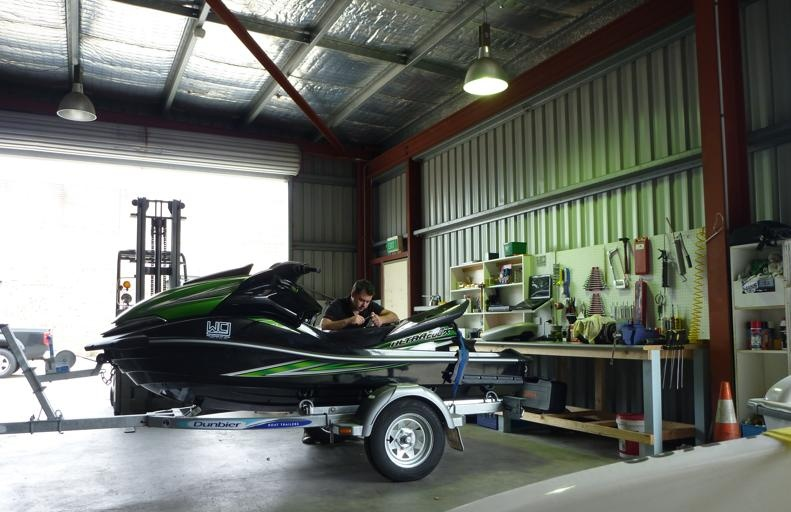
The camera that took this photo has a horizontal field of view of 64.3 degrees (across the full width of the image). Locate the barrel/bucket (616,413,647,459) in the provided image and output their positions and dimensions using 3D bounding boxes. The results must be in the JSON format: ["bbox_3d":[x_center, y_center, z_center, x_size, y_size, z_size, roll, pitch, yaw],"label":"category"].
[{"bbox_3d":[2.945,2.191,7.624,0.545,0.426,0.483,-5,-8,19],"label":"barrel/bucket"}]

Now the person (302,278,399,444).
[{"bbox_3d":[-0.602,1.378,7.855,1.323,2.125,0.908,-1,1,16],"label":"person"}]

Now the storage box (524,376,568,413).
[{"bbox_3d":[1.796,1.709,7.743,0.376,0.398,0.634,6,-10,-25],"label":"storage box"}]

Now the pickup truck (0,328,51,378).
[{"bbox_3d":[-7.621,2.066,12.999,0.907,0.751,1.773,-1,0,-26],"label":"pickup truck"}]

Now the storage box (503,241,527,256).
[{"bbox_3d":[1.872,-0.107,9.953,0.328,0.154,0.228,3,-6,-19],"label":"storage box"}]

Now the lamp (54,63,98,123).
[{"bbox_3d":[-5.328,-2.787,10.655,0.519,0.677,0.961,-1,0,-21],"label":"lamp"}]

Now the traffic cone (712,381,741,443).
[{"bbox_3d":[3.158,1.506,6.065,0.182,0.565,0.316,0,1,24],"label":"traffic cone"}]

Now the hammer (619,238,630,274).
[{"bbox_3d":[3.062,0.005,8.484,0.131,0.479,0.117,-1,1,15],"label":"hammer"}]
